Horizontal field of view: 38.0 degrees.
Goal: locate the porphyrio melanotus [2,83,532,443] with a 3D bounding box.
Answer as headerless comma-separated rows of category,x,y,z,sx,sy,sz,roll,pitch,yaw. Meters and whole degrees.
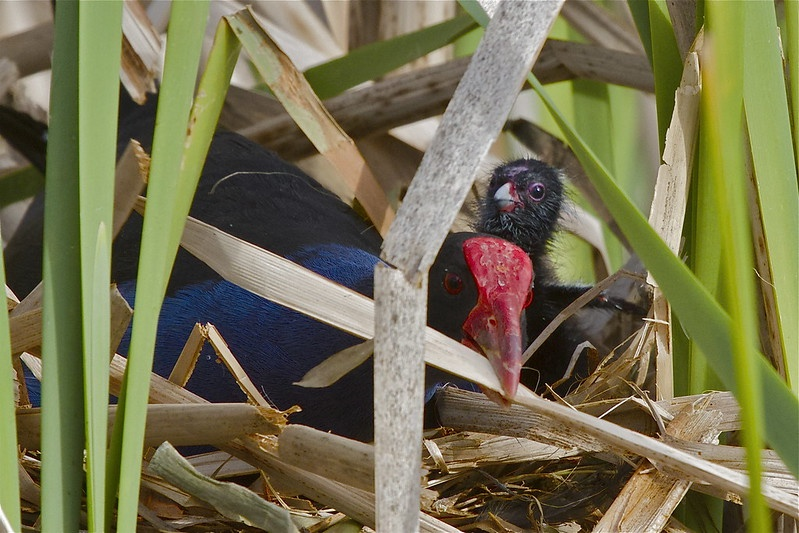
porphyrio melanotus,-0.084,0.006,0.710,0.251,0.158,0.099,36,50,16

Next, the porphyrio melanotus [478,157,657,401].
porphyrio melanotus,0.113,0.000,1.003,0.145,0.181,0.193,19,6,31
